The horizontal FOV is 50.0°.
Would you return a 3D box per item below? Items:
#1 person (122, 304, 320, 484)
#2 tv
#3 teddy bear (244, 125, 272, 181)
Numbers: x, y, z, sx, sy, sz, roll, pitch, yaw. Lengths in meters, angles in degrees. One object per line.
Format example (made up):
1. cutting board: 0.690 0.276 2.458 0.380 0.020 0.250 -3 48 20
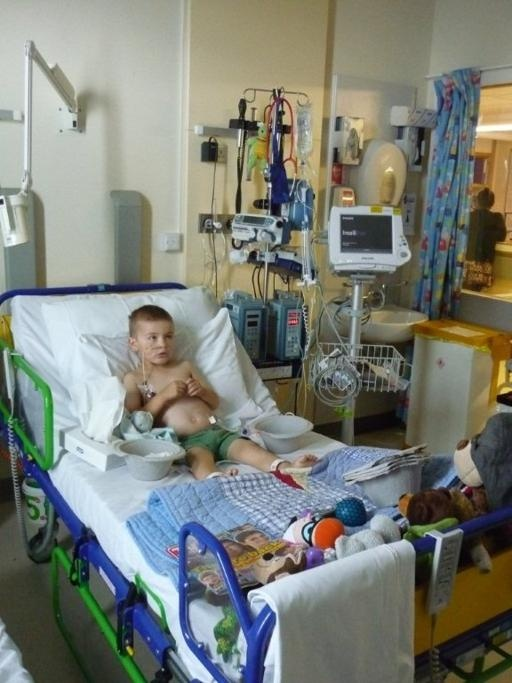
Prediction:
1. person: -0.130 0.133 1.913 0.775 0.551 0.366 15 17 41
2. tv: 0.487 -0.450 2.389 0.404 0.355 0.154 1 -13 -8
3. teddy bear: 0.015 -0.920 2.666 0.148 0.247 0.113 -2 1 6
